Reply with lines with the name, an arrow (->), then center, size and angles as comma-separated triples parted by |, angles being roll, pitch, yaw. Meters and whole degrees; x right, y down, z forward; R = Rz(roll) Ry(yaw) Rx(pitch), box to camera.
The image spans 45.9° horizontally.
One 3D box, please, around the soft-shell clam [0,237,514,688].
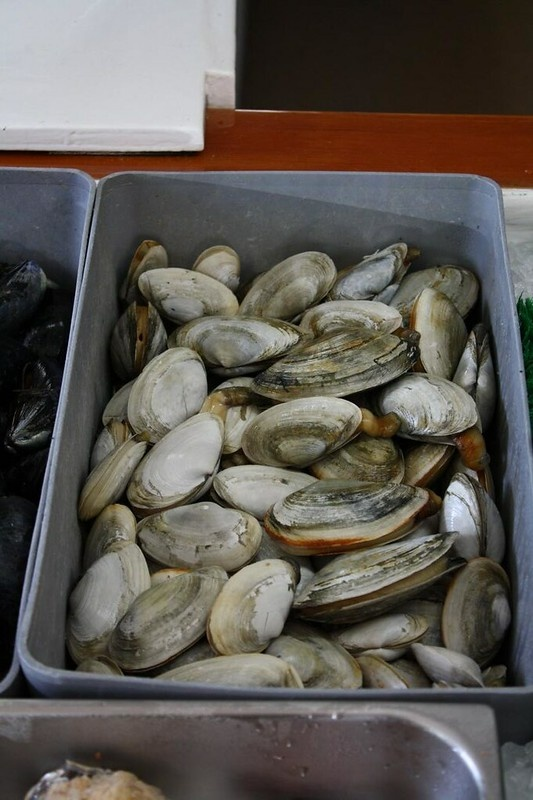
soft-shell clam -> 0.019, 0.043, 0.717 | 0.395, 0.173, 0.529 | 0, 46, 7
